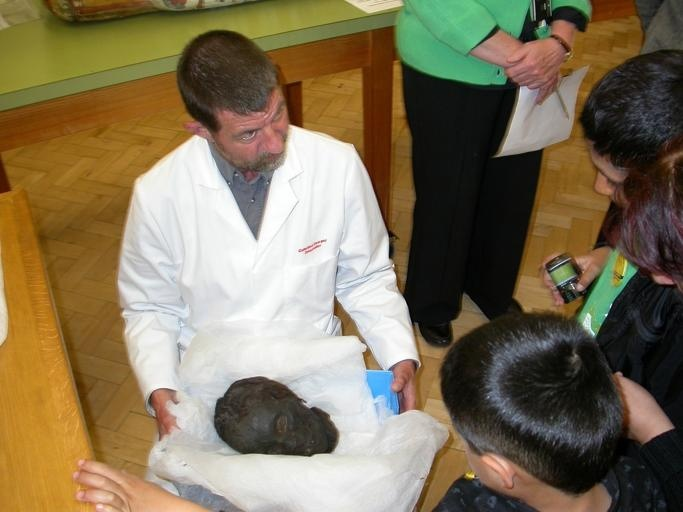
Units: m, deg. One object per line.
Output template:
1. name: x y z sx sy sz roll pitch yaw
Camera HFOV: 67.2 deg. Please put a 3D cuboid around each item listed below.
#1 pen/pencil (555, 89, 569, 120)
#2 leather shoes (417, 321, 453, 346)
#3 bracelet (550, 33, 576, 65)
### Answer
1. pen/pencil: 0.820 -0.567 1.902 0.013 0.127 0.013 -23 25 11
2. leather shoes: 0.451 0.363 2.422 0.092 0.061 0.146 -27 52 -22
3. bracelet: 0.777 -0.726 1.783 0.088 0.023 0.088 56 20 12
